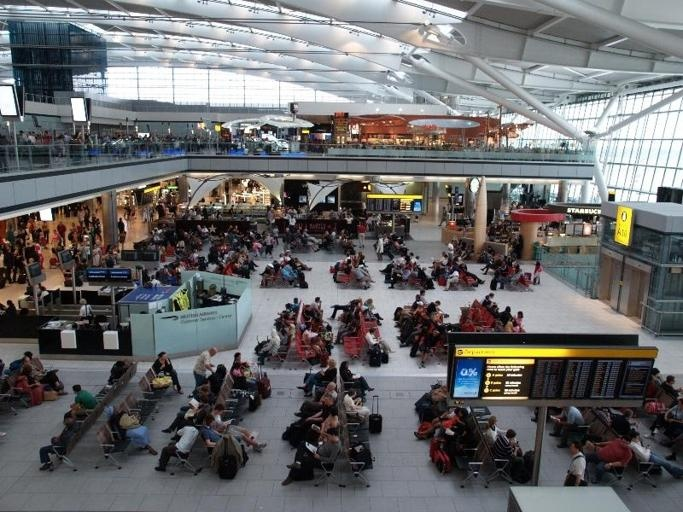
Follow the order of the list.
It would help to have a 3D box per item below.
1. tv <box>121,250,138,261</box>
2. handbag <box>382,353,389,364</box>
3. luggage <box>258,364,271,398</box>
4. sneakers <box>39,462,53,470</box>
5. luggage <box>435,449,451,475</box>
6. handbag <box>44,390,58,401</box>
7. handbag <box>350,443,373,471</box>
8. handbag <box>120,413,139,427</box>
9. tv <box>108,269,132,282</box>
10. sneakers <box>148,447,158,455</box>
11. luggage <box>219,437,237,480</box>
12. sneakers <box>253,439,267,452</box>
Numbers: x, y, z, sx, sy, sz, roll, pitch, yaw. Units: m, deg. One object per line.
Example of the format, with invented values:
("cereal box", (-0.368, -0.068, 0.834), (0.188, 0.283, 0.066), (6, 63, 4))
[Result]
("tv", (-8.641, -0.038, 20.678), (0.626, 0.408, 0.145), (-2, 3, 1))
("handbag", (1.322, 3.071, 15.068), (0.262, 0.269, 0.258), (3, 13, 19))
("luggage", (-2.050, 3.350, 13.301), (0.425, 0.961, 0.724), (-3, -1, -5))
("sneakers", (-6.032, 4.302, 10.254), (0.233, 0.095, 0.117), (2, 1, 2))
("luggage", (2.114, 4.301, 10.472), (0.180, 0.409, 0.296), (-15, -2, -16))
("handbag", (-7.399, 3.548, 12.729), (0.248, 0.223, 0.127), (3, 22, -7))
("handbag", (0.422, 4.185, 10.425), (0.469, 0.503, 0.493), (-1, 14, -1))
("handbag", (-4.618, 3.572, 10.881), (0.299, 0.119, 0.337), (4, 5, -15))
("tv", (-6.967, 0.597, 15.846), (0.767, 0.389, 0.478), (2, 0, -5))
("sneakers", (-4.072, 4.218, 10.831), (0.292, 0.071, 0.113), (18, 13, 41))
("luggage", (-2.339, 4.129, 10.337), (0.478, 0.784, 0.546), (3, -7, -14))
("sneakers", (-1.792, 4.160, 10.960), (0.187, 0.205, 0.512), (0, -8, -12))
